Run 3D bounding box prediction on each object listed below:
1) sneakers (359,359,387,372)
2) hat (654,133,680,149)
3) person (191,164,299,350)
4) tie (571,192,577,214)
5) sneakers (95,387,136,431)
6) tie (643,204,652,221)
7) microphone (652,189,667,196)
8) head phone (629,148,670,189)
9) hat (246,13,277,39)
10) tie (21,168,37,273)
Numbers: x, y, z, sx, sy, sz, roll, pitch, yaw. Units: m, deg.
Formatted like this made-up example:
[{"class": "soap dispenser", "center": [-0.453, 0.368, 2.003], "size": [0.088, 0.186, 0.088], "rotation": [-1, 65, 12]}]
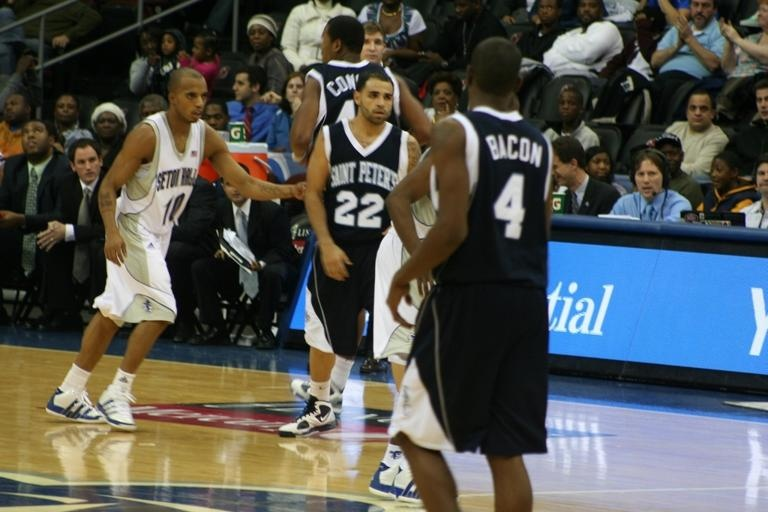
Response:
[{"class": "sneakers", "center": [-0.113, 1.085, 11.086], "size": [0.246, 0.120, 0.114], "rotation": [-5, 7, -41]}, {"class": "hat", "center": [3.001, -1.204, 11.884], "size": [0.246, 0.159, 0.219], "rotation": [2, 8, 0]}, {"class": "person", "center": [-1.525, -0.031, 12.121], "size": [1.039, 1.903, 1.170], "rotation": [-1, 5, -10]}, {"class": "tie", "center": [1.979, -0.535, 11.703], "size": [0.044, 0.181, 0.128], "rotation": [0, 4, 6]}, {"class": "sneakers", "center": [-2.094, 1.206, 8.810], "size": [0.308, 0.303, 0.296], "rotation": [0, 8, -10]}, {"class": "tie", "center": [2.635, -0.419, 11.214], "size": [0.090, 0.138, 0.045], "rotation": [6, -6, 14]}, {"class": "microphone", "center": [2.734, -0.627, 11.209], "size": [0.121, 0.072, 0.065], "rotation": [0, 9, -13]}, {"class": "head phone", "center": [2.668, -0.865, 11.242], "size": [0.402, 0.405, 0.162], "rotation": [-2, 15, 36]}, {"class": "hat", "center": [-1.689, -3.229, 15.742], "size": [0.374, 0.301, 0.490], "rotation": [3, 2, 12]}, {"class": "tie", "center": [-3.971, -0.416, 12.710], "size": [0.160, 1.179, 0.125], "rotation": [1, -3, 10]}]
